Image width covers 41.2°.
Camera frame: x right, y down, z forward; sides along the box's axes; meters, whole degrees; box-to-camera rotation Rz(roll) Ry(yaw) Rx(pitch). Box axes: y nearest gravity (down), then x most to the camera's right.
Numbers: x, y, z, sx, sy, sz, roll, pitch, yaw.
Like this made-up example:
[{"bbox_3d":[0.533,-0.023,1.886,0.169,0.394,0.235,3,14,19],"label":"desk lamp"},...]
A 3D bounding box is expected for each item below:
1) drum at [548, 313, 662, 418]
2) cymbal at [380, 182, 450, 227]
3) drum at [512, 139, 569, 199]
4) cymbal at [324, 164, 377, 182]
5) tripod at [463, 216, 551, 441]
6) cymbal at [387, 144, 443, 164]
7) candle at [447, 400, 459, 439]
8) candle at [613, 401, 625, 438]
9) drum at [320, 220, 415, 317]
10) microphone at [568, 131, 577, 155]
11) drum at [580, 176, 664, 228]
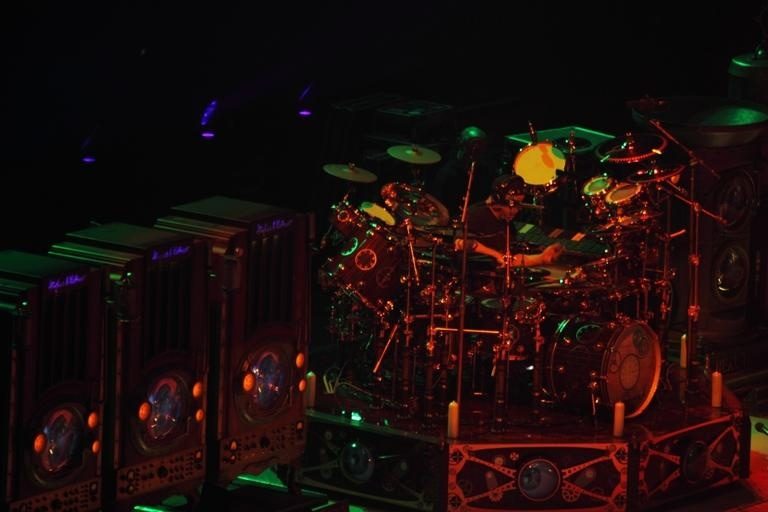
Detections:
[{"bbox_3d":[1.887,0.945,8.797,0.800,0.789,0.945,6,7,34],"label":"drum"},{"bbox_3d":[0.257,-0.430,8.695,0.491,0.106,0.444,18,42,-14],"label":"cymbal"},{"bbox_3d":[1.376,-0.773,8.969,0.476,0.450,0.172,-1,3,-16],"label":"drum"},{"bbox_3d":[-0.295,-0.717,8.779,0.266,0.047,0.259,22,28,17],"label":"cymbal"},{"bbox_3d":[1.048,0.481,8.711,0.793,1.850,1.323,1,3,9],"label":"tripod"},{"bbox_3d":[0.257,-0.922,9.185,0.455,0.181,0.367,0,2,-8],"label":"cymbal"},{"bbox_3d":[0.559,1.312,8.235,0.085,0.300,0.160,0,3,-1],"label":"candle"},{"bbox_3d":[1.967,1.337,8.532,0.093,0.281,0.300,1,3,13],"label":"candle"},{"bbox_3d":[-0.102,0.103,8.668,0.636,0.520,0.714,26,0,-40],"label":"drum"},{"bbox_3d":[1.826,-1.087,9.905,0.065,0.233,0.185,1,3,17],"label":"microphone"},{"bbox_3d":[2.025,-0.465,8.743,0.636,0.434,0.445,1,3,9],"label":"drum"}]
